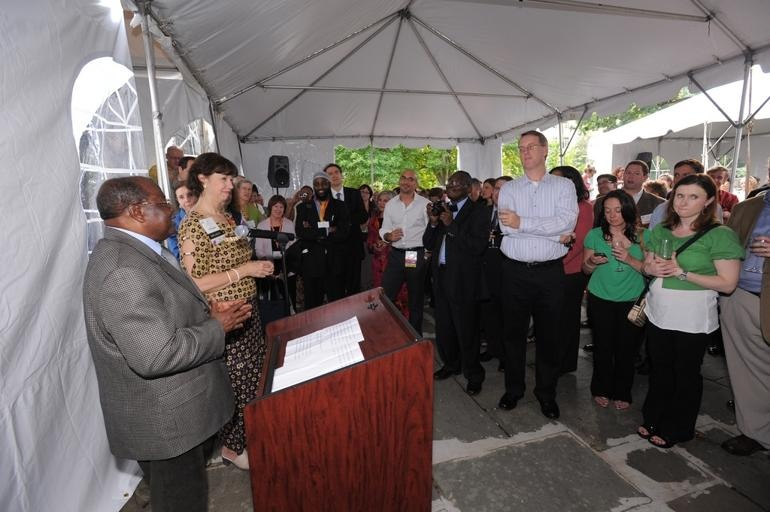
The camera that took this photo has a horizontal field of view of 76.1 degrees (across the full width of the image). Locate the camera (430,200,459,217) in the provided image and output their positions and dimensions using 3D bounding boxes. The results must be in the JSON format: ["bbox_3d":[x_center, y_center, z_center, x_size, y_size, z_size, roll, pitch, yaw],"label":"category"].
[{"bbox_3d":[0.572,-0.476,4.816,0.213,0.085,0.216,1,3,44],"label":"camera"}]

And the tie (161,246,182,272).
[{"bbox_3d":[-1.379,0.023,3.165,0.076,0.157,0.114,-51,6,-21],"label":"tie"}]

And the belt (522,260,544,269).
[{"bbox_3d":[1.338,0.088,4.435,0.175,0.051,0.020,0,9,17],"label":"belt"}]

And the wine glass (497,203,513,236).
[{"bbox_3d":[1.095,-0.308,4.447,0.138,0.273,0.306,0,9,14],"label":"wine glass"}]

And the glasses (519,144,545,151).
[{"bbox_3d":[1.308,-0.979,4.398,0.201,0.055,0.056,-1,8,5],"label":"glasses"}]

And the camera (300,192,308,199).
[{"bbox_3d":[-1.067,-0.791,6.503,0.066,0.040,0.094,1,-31,-8],"label":"camera"}]

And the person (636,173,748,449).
[{"bbox_3d":[2.484,0.481,4.184,0.732,2.320,0.529,-3,9,-9],"label":"person"}]

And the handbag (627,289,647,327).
[{"bbox_3d":[2.241,0.471,4.288,0.424,0.157,0.101,-32,0,-41],"label":"handbag"}]
